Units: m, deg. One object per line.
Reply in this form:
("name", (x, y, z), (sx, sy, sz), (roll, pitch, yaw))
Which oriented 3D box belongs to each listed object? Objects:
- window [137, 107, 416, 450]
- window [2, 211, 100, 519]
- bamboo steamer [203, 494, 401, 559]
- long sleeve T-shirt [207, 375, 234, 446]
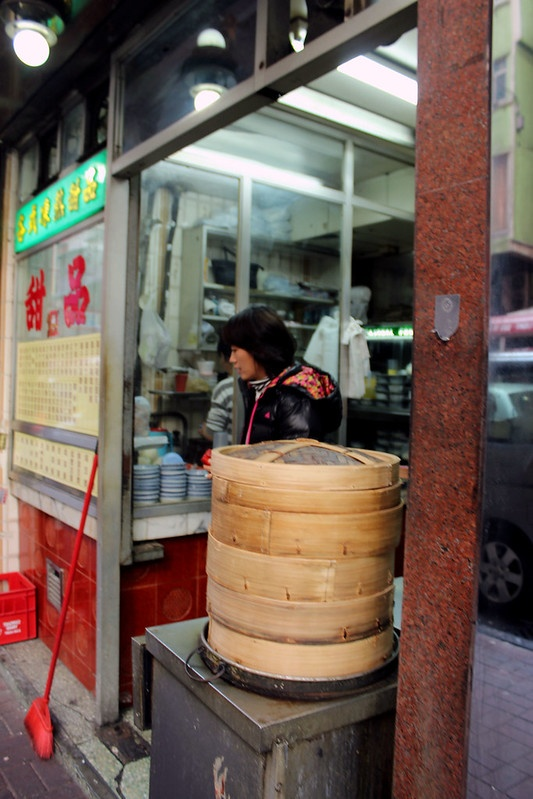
("window", (0.005, -0.635, 4.496), (2.206, 2.252, 0.834), (-10, 28, -12))
("window", (-1.337, -0.194, 3.826), (0.052, 2.268, 2.124), (2, -3, -33))
("bamboo steamer", (0.123, 0.242, 1.400), (0.430, 0.118, 0.450), (-2, -1, 15))
("long sleeve T-shirt", (-0.291, 0.091, 3.856), (0.122, 0.351, 0.320), (9, -21, 6))
